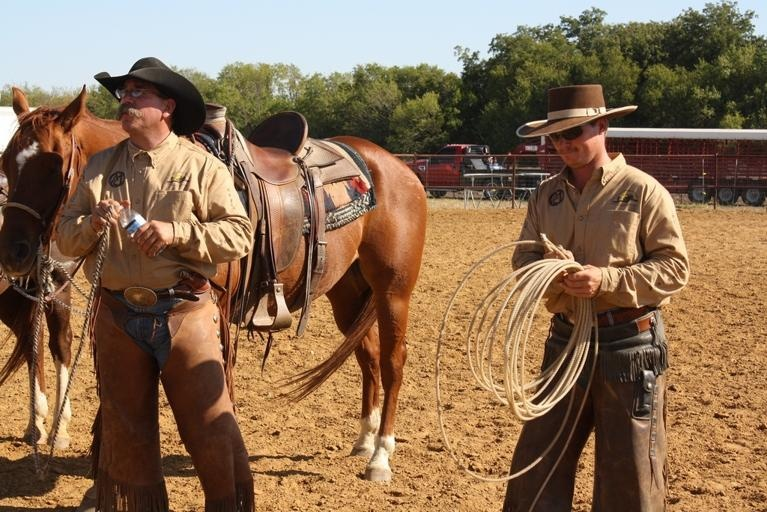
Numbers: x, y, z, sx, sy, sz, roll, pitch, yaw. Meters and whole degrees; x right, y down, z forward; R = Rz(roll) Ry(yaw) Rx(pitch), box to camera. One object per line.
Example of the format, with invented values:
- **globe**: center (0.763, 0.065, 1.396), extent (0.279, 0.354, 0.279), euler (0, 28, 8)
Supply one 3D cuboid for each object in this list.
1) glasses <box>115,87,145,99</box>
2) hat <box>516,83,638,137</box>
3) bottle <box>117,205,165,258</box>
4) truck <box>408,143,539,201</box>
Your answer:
- **glasses**: center (-1.567, -0.992, 4.901), extent (0.212, 0.071, 0.042), euler (1, 4, 20)
- **hat**: center (1.276, -0.966, 5.194), extent (0.507, 0.226, 0.480), euler (-16, 8, -11)
- **bottle**: center (-1.465, -0.140, 4.804), extent (0.262, 0.109, 0.117), euler (42, -24, -14)
- **truck**: center (2.541, -2.360, 23.058), extent (4.769, 1.833, 1.642), euler (4, 8, 37)
